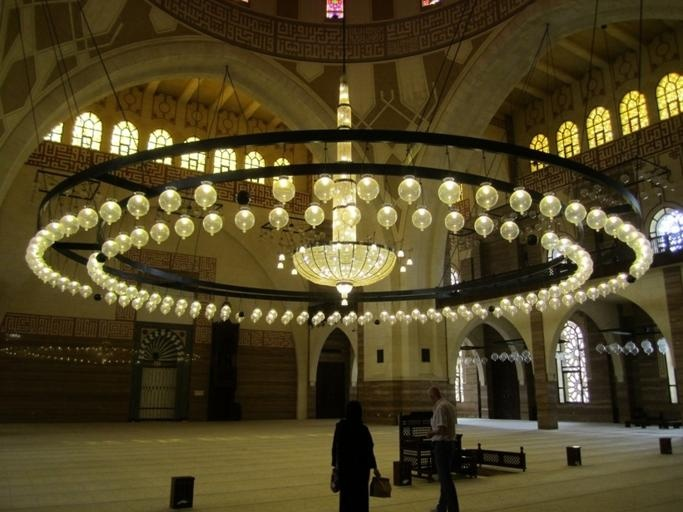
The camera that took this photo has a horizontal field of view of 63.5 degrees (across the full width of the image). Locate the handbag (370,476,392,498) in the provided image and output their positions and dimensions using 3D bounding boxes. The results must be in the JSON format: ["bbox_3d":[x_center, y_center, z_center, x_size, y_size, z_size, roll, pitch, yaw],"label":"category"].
[{"bbox_3d":[0.487,2.909,6.963,0.265,0.226,0.221,-15,-21,34],"label":"handbag"}]

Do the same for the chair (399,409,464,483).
[{"bbox_3d":[1.525,3.196,9.500,0.856,1.154,0.779,7,-18,-22],"label":"chair"}]
